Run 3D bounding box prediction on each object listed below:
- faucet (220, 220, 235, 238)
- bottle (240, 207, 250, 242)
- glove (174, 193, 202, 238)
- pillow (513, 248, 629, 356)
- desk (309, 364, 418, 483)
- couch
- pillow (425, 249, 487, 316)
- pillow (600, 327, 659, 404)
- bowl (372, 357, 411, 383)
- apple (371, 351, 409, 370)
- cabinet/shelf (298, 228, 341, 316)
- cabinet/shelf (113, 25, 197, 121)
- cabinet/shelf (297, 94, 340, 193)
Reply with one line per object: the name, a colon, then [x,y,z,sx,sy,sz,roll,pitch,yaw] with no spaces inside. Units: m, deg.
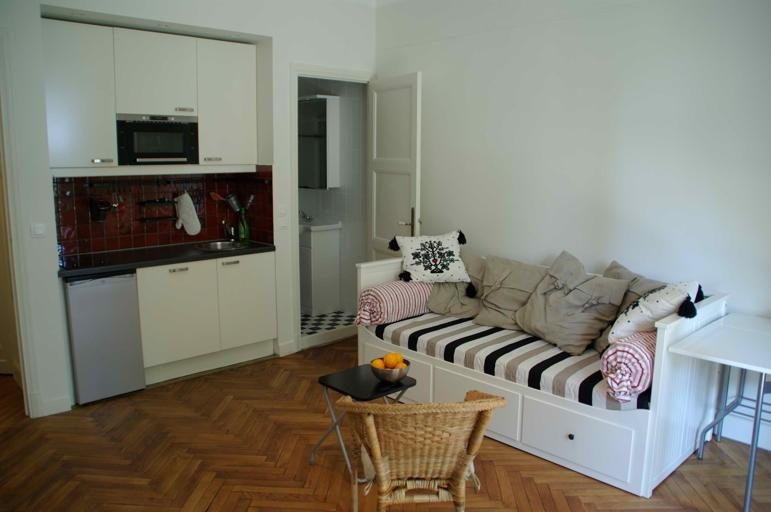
faucet: [-1.657,-0.283,6.118,0.145,0.194,0.087,8,17,38]
bottle: [-1.501,-0.337,6.105,0.134,0.320,0.120,-1,13,6]
glove: [-2.002,-0.419,5.809,0.241,0.399,0.104,-24,8,-2]
pillow: [1.647,0.263,4.758,0.197,0.786,0.788,-31,22,-36]
desk: [-0.185,1.213,4.173,0.574,0.627,0.530,2,5,-29]
couch: [1.179,0.848,5.240,1.268,1.321,3.045,-11,11,-40]
pillow: [0.664,0.262,5.374,0.468,0.559,0.167,4,-6,19]
pillow: [1.749,0.726,4.185,0.370,0.281,0.767,19,36,21]
bowl: [0.035,0.797,4.010,0.184,0.085,0.187,-1,7,0]
apple: [0.020,0.734,4.017,0.147,0.080,0.137,0,0,-28]
cabinet/shelf: [-0.796,0.151,6.804,0.346,0.853,0.872,-7,12,-30]
cabinet/shelf: [-2.106,-1.659,5.169,0.819,0.803,0.437,-4,8,-39]
cabinet/shelf: [-0.822,-1.368,6.894,0.650,1.066,0.299,8,17,40]
